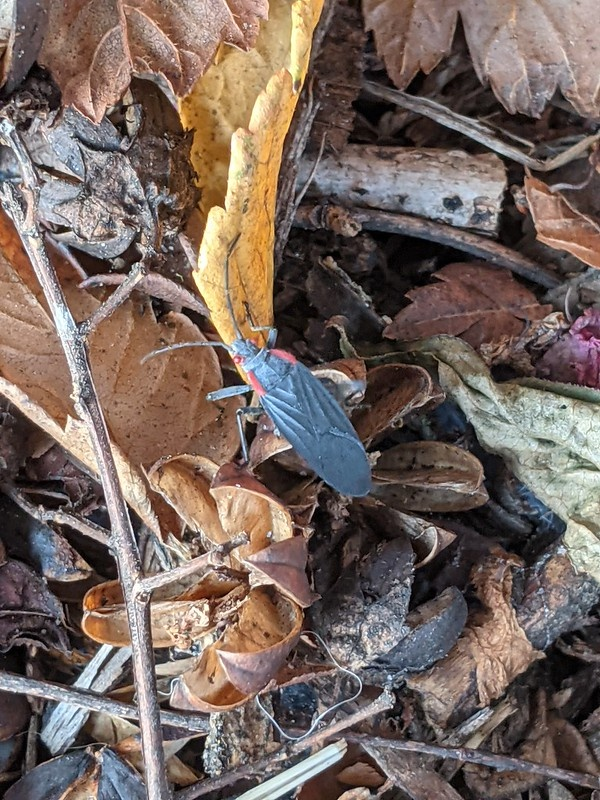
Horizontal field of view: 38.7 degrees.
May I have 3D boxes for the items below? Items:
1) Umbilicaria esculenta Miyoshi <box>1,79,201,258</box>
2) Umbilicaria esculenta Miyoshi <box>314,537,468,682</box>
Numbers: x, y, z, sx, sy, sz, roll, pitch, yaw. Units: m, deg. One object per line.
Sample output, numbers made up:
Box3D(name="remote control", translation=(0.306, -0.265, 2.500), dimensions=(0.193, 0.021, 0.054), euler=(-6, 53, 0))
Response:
Box3D(name="Umbilicaria esculenta Miyoshi", translation=(-0.322, -0.396, 1.544), dimensions=(0.309, 0.303, 0.153), euler=(-20, 49, -20))
Box3D(name="Umbilicaria esculenta Miyoshi", translation=(0.167, 0.417, 1.618), dimensions=(0.222, 0.227, 0.250), euler=(31, 51, 28))
